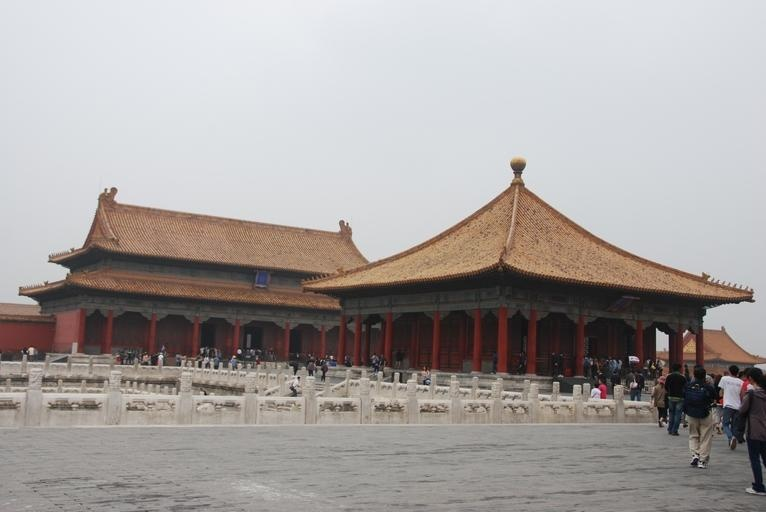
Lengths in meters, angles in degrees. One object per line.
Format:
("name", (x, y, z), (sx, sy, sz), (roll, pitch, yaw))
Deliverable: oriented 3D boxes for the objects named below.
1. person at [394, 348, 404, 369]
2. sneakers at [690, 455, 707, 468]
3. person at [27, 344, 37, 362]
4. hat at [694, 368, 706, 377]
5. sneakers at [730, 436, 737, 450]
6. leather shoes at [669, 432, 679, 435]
("person", (0.862, 5.026, 50.638), (0.400, 1.044, 0.944), (0, -14, -1))
("sneakers", (7.487, 4.885, 24.583), (0.199, 0.203, 0.482), (-4, -13, 27))
("person", (-20.074, 5.602, 59.479), (0.812, 0.954, 0.810), (4, -12, -22))
("hat", (7.765, 2.858, 25.452), (0.252, 0.253, 0.286), (2, 0, 10))
("sneakers", (9.307, 4.944, 27.463), (0.155, 0.380, 0.157), (0, 21, 5))
("leather shoes", (8.480, 5.185, 30.313), (0.106, 0.113, 0.279), (2, -14, -6))
